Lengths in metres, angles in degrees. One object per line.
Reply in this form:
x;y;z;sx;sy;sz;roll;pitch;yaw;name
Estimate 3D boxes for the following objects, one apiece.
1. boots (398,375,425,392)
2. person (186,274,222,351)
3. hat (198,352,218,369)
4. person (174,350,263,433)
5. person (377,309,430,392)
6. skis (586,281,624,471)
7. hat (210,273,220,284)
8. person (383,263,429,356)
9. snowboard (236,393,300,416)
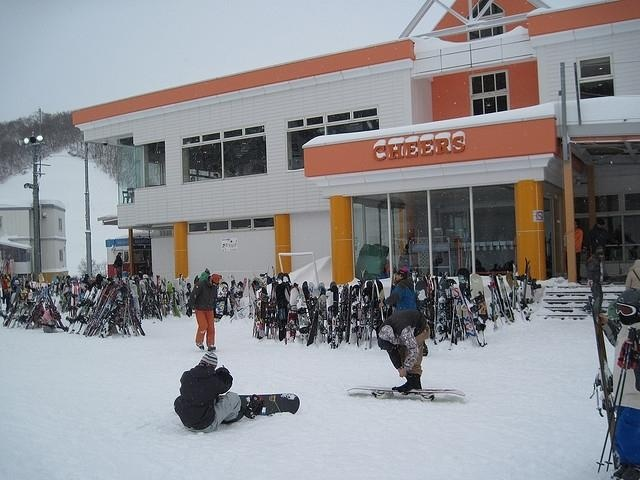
1.532;2.418;9.696;0.455;0.379;0.192;2;-4;9;boots
-2.710;1.741;13.577;0.691;1.901;1.367;-2;5;-14;person
-1.654;1.742;8.553;0.268;0.235;0.206;20;-4;38;hat
-1.639;2.309;8.942;0.952;1.198;1.347;1;3;34;person
1.430;1.912;9.834;0.710;1.390;0.899;1;6;20;person
3.871;1.938;7.874;0.207;2.214;0.284;-9;-17;31;skis
-2.454;0.941;13.485;0.207;0.282;0.415;-2;6;-11;hat
1.901;1.336;12.377;0.737;1.782;0.583;0;37;-6;person
-0.801;2.564;9.014;1.106;0.391;0.186;2;-25;-13;snowboard
